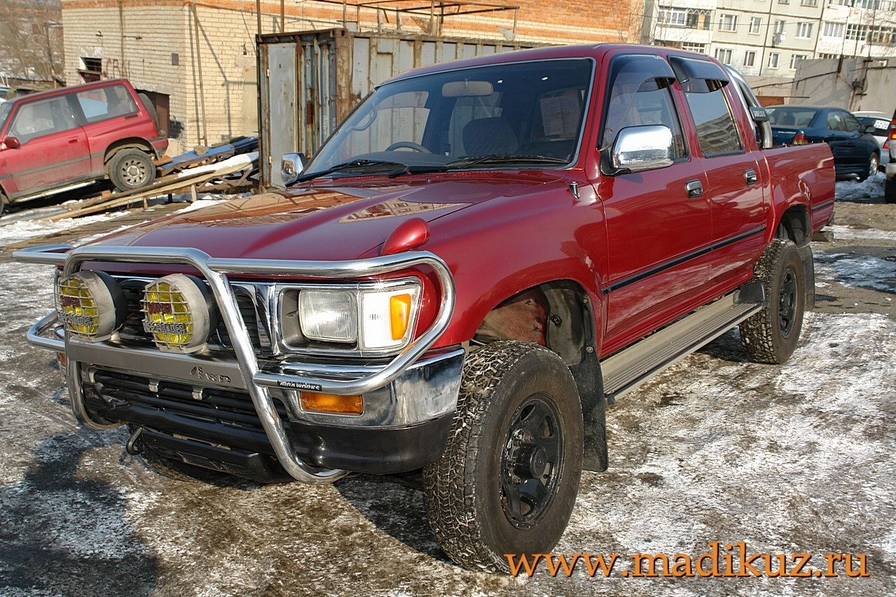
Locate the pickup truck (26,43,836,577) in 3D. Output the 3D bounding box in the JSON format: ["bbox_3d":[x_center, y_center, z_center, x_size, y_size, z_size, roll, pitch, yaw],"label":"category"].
[{"bbox_3d":[0.684,-0.756,5.006,3.242,2.068,6.043,16,29,41],"label":"pickup truck"}]
